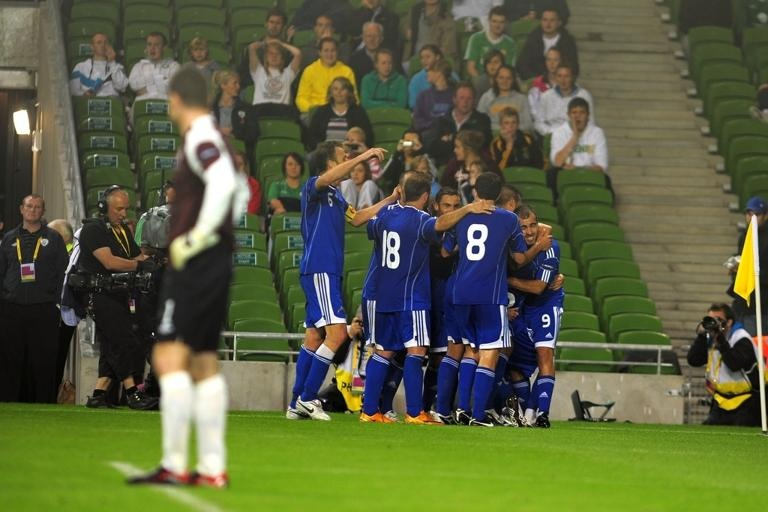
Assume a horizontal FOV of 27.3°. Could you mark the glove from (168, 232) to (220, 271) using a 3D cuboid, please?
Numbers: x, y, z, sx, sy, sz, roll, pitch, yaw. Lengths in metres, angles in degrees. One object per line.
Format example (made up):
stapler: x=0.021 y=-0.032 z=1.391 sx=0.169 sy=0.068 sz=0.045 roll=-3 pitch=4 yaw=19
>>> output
glove: x=-2.459 y=-0.102 z=20.128 sx=0.579 sy=0.409 sz=0.204 roll=-24 pitch=-51 yaw=3

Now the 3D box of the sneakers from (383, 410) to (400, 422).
sneakers: x=0.086 y=2.520 z=24.834 sx=0.174 sy=0.129 sz=0.330 roll=2 pitch=-11 yaw=1

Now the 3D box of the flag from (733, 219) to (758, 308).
flag: x=5.771 y=0.089 z=25.309 sx=0.301 sy=1.369 sz=0.190 roll=6 pitch=13 yaw=26

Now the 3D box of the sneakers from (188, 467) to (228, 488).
sneakers: x=-2.230 y=2.827 z=19.991 sx=0.483 sy=0.199 sz=0.174 roll=-2 pitch=-1 yaw=5

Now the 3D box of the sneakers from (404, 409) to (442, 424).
sneakers: x=0.565 y=2.471 z=24.272 sx=0.584 sy=0.239 sz=0.210 roll=-1 pitch=-1 yaw=-6

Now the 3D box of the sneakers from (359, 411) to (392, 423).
sneakers: x=-0.118 y=2.467 z=24.294 sx=0.544 sy=0.204 sz=0.189 roll=1 pitch=1 yaw=-15

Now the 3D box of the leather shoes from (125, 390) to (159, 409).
leather shoes: x=-3.802 y=2.242 z=24.714 sx=0.612 sy=0.273 sz=0.239 roll=0 pitch=2 yaw=21

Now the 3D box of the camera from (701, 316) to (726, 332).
camera: x=5.439 y=1.130 z=26.248 sx=0.421 sy=0.261 sz=0.239 roll=1 pitch=-4 yaw=-4

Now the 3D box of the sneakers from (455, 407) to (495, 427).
sneakers: x=1.382 y=2.483 z=24.302 sx=0.586 sy=0.240 sz=0.244 roll=2 pitch=-4 yaw=-12

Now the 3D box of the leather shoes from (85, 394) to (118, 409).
leather shoes: x=-4.403 y=2.293 z=24.895 sx=0.640 sy=0.263 sz=0.215 roll=2 pitch=-1 yaw=-8

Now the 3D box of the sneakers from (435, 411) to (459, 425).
sneakers: x=0.929 y=2.507 z=24.419 sx=0.394 sy=0.175 sz=0.142 roll=20 pitch=-5 yaw=-5

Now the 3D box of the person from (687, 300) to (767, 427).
person: x=5.675 y=1.816 z=26.483 sx=1.102 sy=2.029 sz=0.872 roll=0 pitch=-4 yaw=21
